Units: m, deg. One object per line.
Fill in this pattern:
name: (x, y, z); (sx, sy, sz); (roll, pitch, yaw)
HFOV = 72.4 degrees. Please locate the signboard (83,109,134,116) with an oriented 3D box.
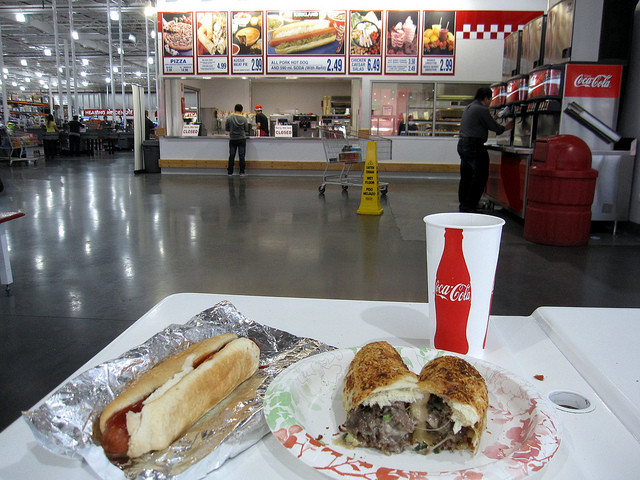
signboard: (-14.391, -8.689, 29.514); (3.905, 0.470, 1.779); (8, 16, 28)

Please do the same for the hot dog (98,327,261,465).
hot dog: (-0.169, 0.186, 0.556); (0.082, 0.053, 0.168); (40, 38, 17)

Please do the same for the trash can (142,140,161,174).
trash can: (-3.986, -2.117, 10.346); (0.425, 0.623, 0.419); (-4, 35, -27)

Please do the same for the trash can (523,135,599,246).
trash can: (2.204, -0.472, 3.972); (0.540, 0.992, 0.576); (3, 9, 15)

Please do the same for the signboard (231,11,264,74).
signboard: (-1.594, -4.316, 9.483); (0.696, 1.241, 0.120); (2, 14, 7)

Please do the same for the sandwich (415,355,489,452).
sandwich: (0.156, 0.191, 0.531); (0.089, 0.057, 0.142); (6, 10, 22)

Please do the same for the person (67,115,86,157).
person: (-8.707, -3.610, 15.443); (0.355, 1.197, 0.878); (-9, 17, -34)

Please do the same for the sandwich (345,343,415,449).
sandwich: (0.079, 0.193, 0.574); (0.096, 0.080, 0.193); (3, 5, 4)

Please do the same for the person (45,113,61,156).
person: (-9.119, -3.563, 14.818); (0.329, 1.387, 1.227); (-8, 16, -30)

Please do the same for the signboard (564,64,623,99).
signboard: (2.664, -1.555, 4.257); (0.494, 0.311, 0.040); (2, 14, 5)

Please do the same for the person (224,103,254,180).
person: (-1.778, -2.158, 9.447); (0.529, 1.514, 0.881); (-2, 14, -10)

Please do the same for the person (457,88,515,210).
person: (1.905, -1.091, 5.219); (0.469, 1.425, 0.777); (5, 15, 17)

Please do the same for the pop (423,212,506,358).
pop: (0.221, 0.072, 0.741); (0.087, 0.247, 0.136); (0, 12, -4)
